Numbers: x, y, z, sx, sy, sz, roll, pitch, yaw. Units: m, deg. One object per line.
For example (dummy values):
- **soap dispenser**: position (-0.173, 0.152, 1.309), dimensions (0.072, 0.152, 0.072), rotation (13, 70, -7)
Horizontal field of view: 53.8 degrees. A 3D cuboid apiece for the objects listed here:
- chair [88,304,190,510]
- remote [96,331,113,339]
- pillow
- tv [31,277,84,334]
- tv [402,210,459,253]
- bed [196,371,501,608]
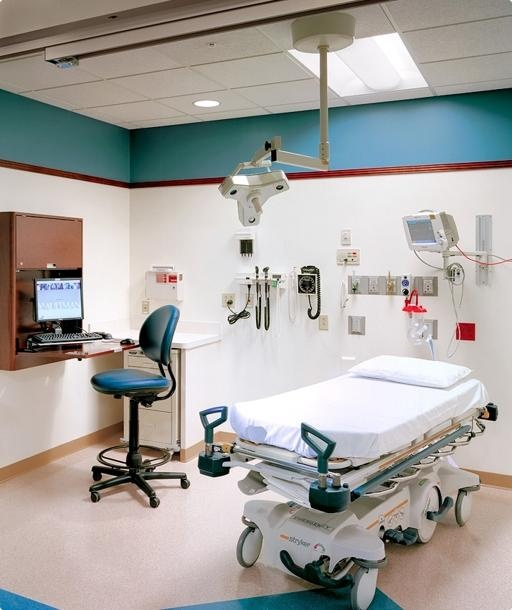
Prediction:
- **chair**: position (-0.759, 0.595, 3.192), dimensions (0.626, 1.159, 0.620), rotation (5, 5, 29)
- **remote**: position (-1.043, 0.207, 3.453), dimensions (0.120, 0.041, 0.066), rotation (3, 5, 36)
- **pillow**: position (0.838, 0.363, 2.773), dimensions (0.413, 0.092, 0.265), rotation (2, 11, 36)
- **tv**: position (-1.339, 0.004, 3.422), dimensions (0.292, 0.367, 0.105), rotation (-3, 4, -24)
- **tv**: position (1.081, -0.468, 3.096), dimensions (0.212, 0.253, 0.268), rotation (-15, 12, -36)
- **bed**: position (0.462, 0.730, 2.310), dimensions (0.720, 0.789, 1.412), rotation (-1, 1, 37)
